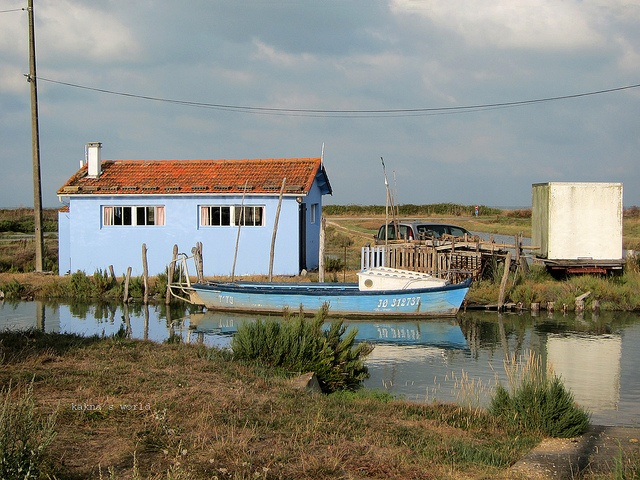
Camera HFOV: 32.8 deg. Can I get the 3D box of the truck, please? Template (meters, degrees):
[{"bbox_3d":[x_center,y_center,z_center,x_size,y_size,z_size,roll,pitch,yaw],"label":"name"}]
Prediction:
[{"bbox_3d":[9.631,-0.441,42.117,2.695,3.639,5.531,-1,3,1],"label":"truck"}]
